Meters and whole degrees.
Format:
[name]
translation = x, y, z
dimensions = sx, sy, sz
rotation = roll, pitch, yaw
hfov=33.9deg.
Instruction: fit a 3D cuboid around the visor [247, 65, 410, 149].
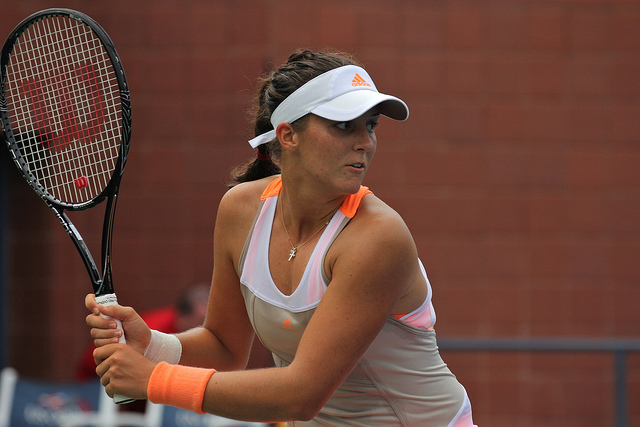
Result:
[visor]
translation = 0.088, -0.700, 6.963
dimensions = 0.584, 0.389, 1.095
rotation = -3, -5, -35
